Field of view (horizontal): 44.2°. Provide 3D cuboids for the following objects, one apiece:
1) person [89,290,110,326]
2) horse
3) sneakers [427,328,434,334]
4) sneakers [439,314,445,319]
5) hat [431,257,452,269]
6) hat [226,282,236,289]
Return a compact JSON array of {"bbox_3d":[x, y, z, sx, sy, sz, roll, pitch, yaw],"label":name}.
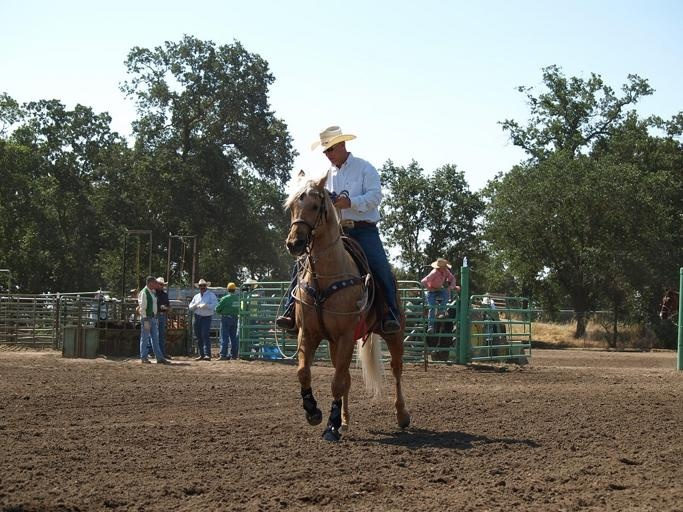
[{"bbox_3d":[-7.902,1.723,27.536,0.649,1.052,1.731,-1,-10,-7],"label":"person"},{"bbox_3d":[-0.045,0.788,13.834,1.120,4.404,2.570,-5,-8,36],"label":"horse"},{"bbox_3d":[2.412,2.004,22.635,0.111,0.184,0.165,-2,0,0],"label":"sneakers"},{"bbox_3d":[2.716,1.628,22.706,0.052,0.145,0.259,2,-17,-8],"label":"sneakers"},{"bbox_3d":[4.260,0.279,35.419,0.789,0.289,0.879,3,9,-3],"label":"hat"},{"bbox_3d":[-4.116,1.101,31.458,0.392,0.357,0.610,0,-1,-7],"label":"hat"}]
